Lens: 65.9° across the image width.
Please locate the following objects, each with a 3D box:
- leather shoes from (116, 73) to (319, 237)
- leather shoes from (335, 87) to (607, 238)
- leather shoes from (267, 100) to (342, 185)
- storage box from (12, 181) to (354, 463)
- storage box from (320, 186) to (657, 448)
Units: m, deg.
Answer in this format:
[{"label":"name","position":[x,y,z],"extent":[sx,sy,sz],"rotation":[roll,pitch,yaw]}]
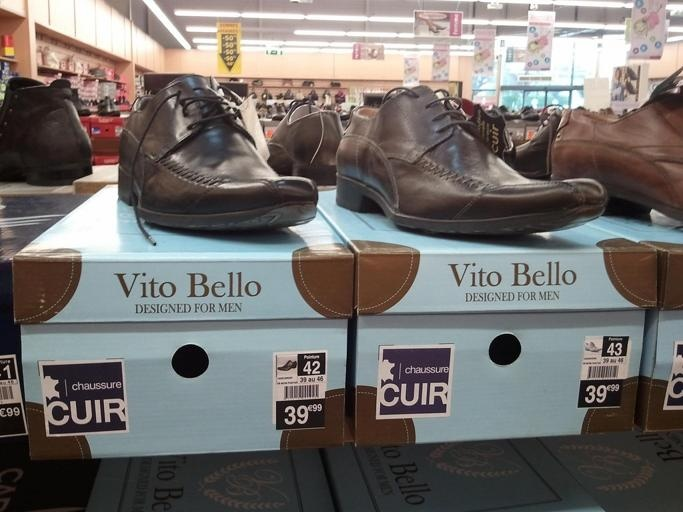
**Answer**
[{"label":"leather shoes","position":[-0.175,-0.125,0.693],"extent":[0.167,0.137,0.307],"rotation":[-1,10,-34]},{"label":"leather shoes","position":[0.127,-0.116,0.719],"extent":[0.149,0.171,0.414],"rotation":[-2,9,-41]},{"label":"leather shoes","position":[-0.074,-0.221,1.012],"extent":[0.103,0.122,0.257],"rotation":[0,14,-13]},{"label":"storage box","position":[-0.172,0.066,0.584],"extent":[0.248,0.176,0.338],"rotation":[1,11,-5]},{"label":"storage box","position":[0.174,0.065,0.584],"extent":[0.268,0.145,0.264],"rotation":[-1,12,-5]}]
